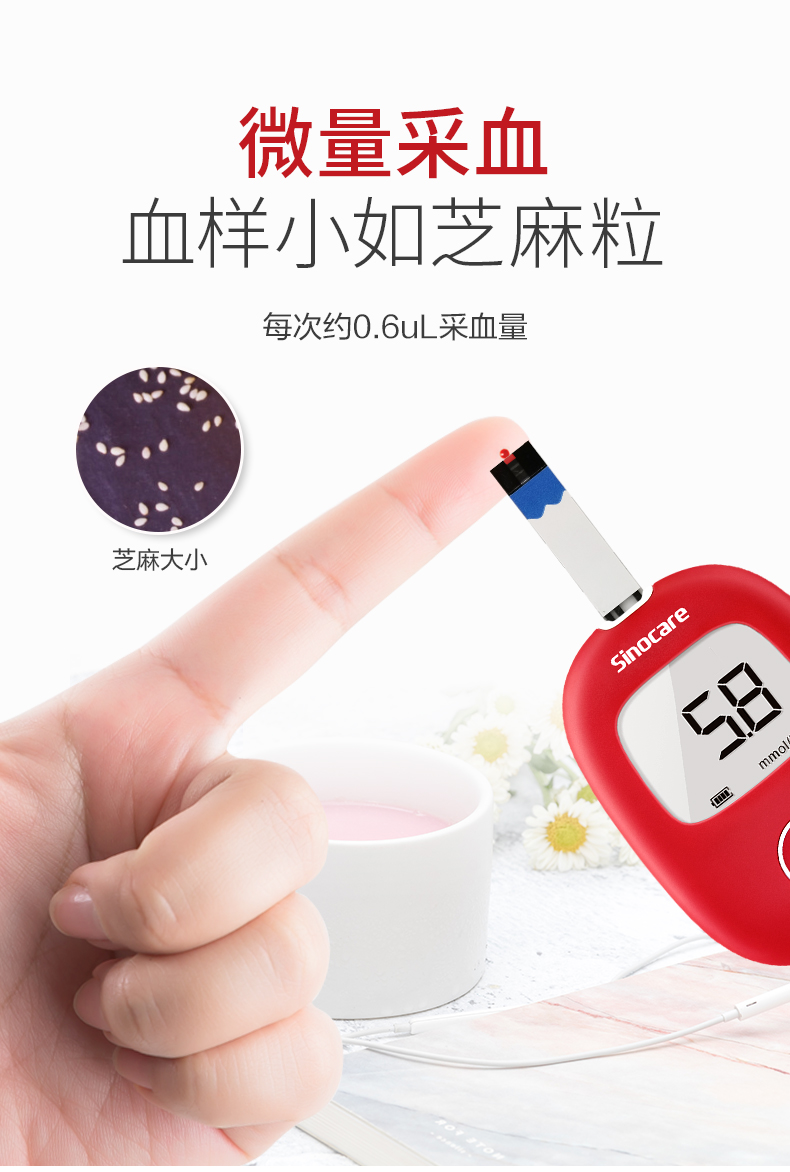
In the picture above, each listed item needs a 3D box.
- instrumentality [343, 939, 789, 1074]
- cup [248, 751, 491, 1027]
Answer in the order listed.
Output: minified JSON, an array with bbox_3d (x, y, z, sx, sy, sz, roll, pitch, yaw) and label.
[{"bbox_3d":[0.117,0.303,0.722,0.333,0.017,0.103,-6,9,-31],"label":"instrumentality"},{"bbox_3d":[-0.032,0.183,0.796,0.190,0.137,0.192,0,12,0],"label":"cup"}]
